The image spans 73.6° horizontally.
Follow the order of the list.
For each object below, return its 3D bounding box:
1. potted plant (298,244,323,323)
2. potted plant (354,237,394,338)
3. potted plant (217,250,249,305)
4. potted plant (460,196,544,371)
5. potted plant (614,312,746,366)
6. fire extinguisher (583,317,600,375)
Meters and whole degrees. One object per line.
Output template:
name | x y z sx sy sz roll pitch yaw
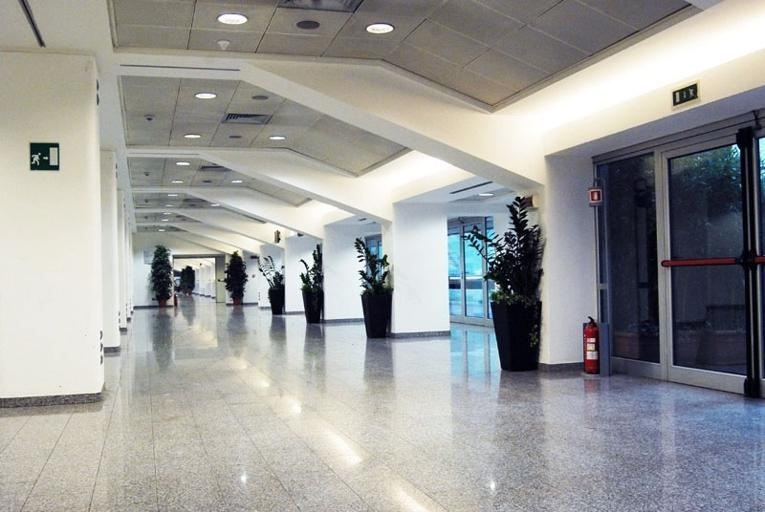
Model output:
potted plant | -2.491 0.975 18.229 0.718 2.801 1.275 0 -2 -11
potted plant | -0.216 0.974 13.702 0.757 2.384 1.026 0 -2 -15
potted plant | -9.104 1.434 31.632 1.317 3.208 1.183 -1 -2 -4
potted plant | 2.306 0.474 8.819 0.874 2.969 0.503 -1 -2 -4
potted plant | 4.738 1.241 7.620 0.856 0.711 1.587 3 -5 -26
fire extinguisher | 3.458 1.486 8.425 0.243 0.912 0.456 -2 -2 19
